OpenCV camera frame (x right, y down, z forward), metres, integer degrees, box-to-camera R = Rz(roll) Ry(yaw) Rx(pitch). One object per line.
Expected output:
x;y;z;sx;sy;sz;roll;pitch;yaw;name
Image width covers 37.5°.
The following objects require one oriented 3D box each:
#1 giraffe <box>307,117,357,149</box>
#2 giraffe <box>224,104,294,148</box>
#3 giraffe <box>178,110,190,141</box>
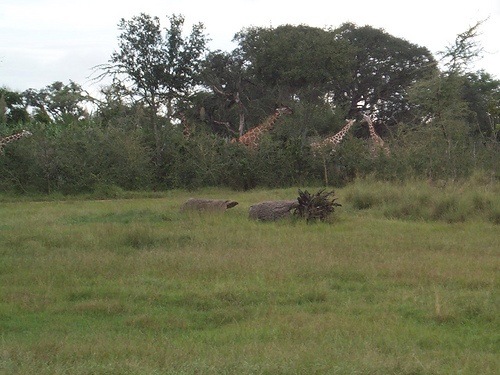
4.042;-2.608;36.517;1.658;1.701;5.009;1;1;14;giraffe
0.443;-2.964;36.489;3.044;2.242;1.288;0;1;-36;giraffe
-3.223;-2.985;35.619;0.555;1.403;2.228;0;1;-6;giraffe
